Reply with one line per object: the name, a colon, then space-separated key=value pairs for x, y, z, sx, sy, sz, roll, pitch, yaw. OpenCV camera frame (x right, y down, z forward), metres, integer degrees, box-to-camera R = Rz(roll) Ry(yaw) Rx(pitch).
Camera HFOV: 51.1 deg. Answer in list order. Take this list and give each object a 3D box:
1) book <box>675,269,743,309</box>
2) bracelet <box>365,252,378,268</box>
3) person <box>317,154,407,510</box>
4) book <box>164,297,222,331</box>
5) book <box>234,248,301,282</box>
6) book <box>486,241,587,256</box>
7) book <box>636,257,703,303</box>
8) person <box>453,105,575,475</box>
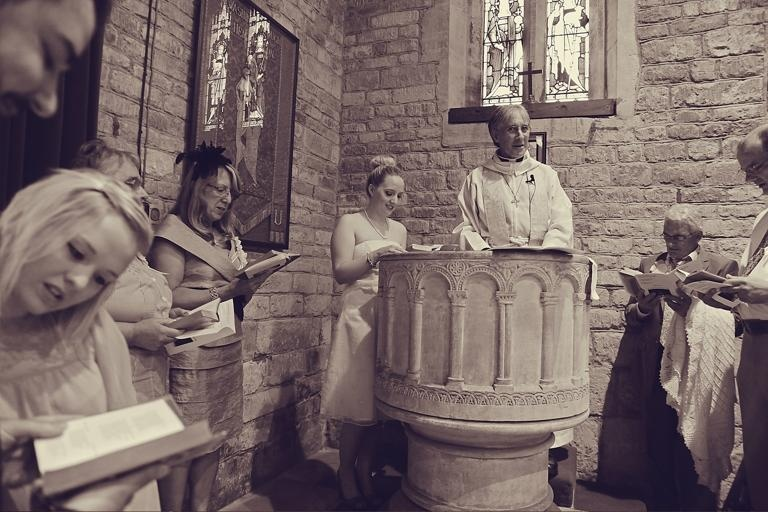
book: x=2.209 y=0.239 z=5.506 sx=0.336 sy=0.122 sz=0.317 roll=30 pitch=-17 yaw=-23
bracelet: x=-0.089 y=0.018 z=6.055 sx=0.075 sy=0.103 sz=0.038 roll=10 pitch=36 yaw=6
person: x=-0.163 y=0.539 z=6.173 sx=0.571 sy=2.648 sz=0.718 roll=1 pitch=4 yaw=13
book: x=-1.185 y=0.350 z=4.985 sx=0.188 sy=0.078 sz=0.188 roll=-24 pitch=-9 yaw=16
book: x=-0.795 y=0.058 z=5.350 sx=0.240 sy=0.099 sz=0.249 roll=-24 pitch=-2 yaw=14
book: x=0.985 y=-0.039 z=5.370 sx=0.616 sy=0.065 sz=0.223 roll=1 pitch=4 yaw=5
book: x=2.068 y=0.117 z=5.778 sx=0.383 sy=0.142 sz=0.355 roll=5 pitch=-30 yaw=47
person: x=0.968 y=0.161 z=6.065 sx=0.885 sy=2.573 sz=0.572 roll=1 pitch=4 yaw=12
